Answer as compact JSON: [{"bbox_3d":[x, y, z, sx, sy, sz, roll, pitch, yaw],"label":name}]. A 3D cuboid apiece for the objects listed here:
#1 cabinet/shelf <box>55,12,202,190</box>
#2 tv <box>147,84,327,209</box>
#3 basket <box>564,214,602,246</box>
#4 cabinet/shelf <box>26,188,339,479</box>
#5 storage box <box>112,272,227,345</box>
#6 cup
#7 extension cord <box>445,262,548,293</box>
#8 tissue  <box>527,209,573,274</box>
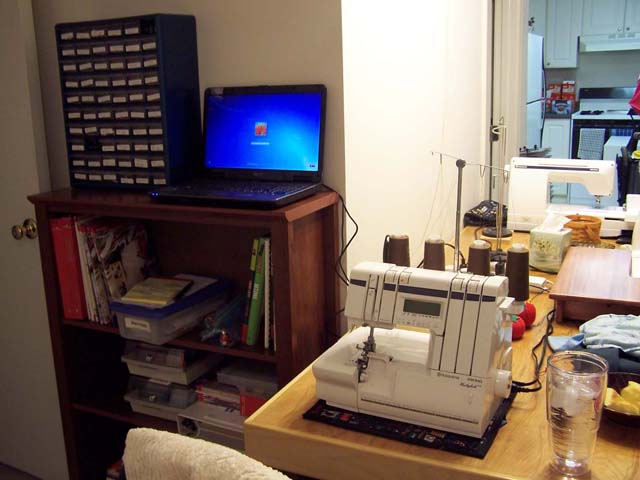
[{"bbox_3d":[-0.703,-0.534,2.036,0.562,0.719,0.243,6,18,21],"label":"cabinet/shelf"},{"bbox_3d":[-0.277,-0.349,1.832,0.516,0.388,0.414,7,16,26],"label":"tv"},{"bbox_3d":[1.121,-0.037,2.311,0.147,0.120,0.150,7,13,37],"label":"basket"},{"bbox_3d":[-0.467,0.283,1.894,0.955,1.269,0.424,7,14,18],"label":"cabinet/shelf"},{"bbox_3d":[-0.590,0.263,2.164,0.326,0.164,0.436,2,11,26],"label":"storage box"},{"bbox_3d":[0.568,0.378,1.206,0.192,0.215,0.123,-14,18,-41],"label":"cup"},{"bbox_3d":[0.527,0.112,1.594,0.072,0.084,0.298,-27,24,-37],"label":"extension cord"},{"bbox_3d":[0.927,0.037,2.202,0.133,0.247,0.144,4,-16,31],"label":"tissue "}]
